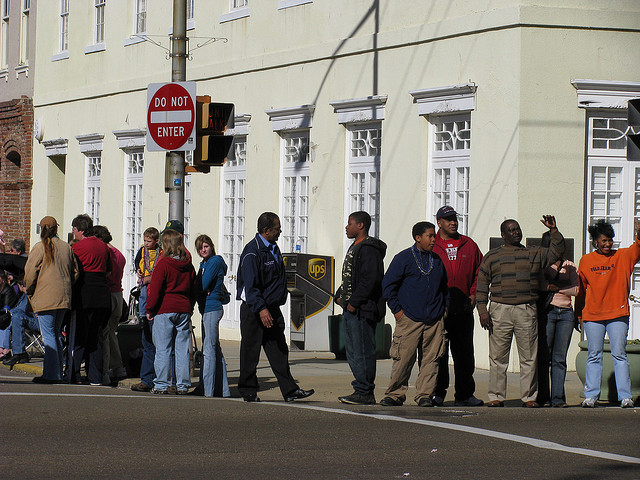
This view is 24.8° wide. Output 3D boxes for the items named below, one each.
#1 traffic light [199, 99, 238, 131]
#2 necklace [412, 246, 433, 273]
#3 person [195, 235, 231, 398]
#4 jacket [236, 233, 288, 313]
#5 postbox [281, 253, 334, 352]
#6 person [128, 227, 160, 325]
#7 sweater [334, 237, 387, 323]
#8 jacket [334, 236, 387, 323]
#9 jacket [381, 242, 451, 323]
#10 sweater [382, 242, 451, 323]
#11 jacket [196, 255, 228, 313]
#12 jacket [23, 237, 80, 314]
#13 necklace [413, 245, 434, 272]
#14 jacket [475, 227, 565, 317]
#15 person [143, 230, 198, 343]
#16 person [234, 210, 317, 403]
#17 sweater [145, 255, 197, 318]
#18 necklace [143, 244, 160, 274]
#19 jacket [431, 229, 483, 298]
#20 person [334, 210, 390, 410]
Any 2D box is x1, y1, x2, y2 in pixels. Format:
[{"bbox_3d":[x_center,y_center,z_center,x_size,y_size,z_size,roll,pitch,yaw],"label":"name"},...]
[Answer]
[{"bbox_3d":[-1.451,-1.777,20.523,0.467,0.487,0.196,0,5,-44],"label":"traffic light"},{"bbox_3d":[1.313,0.237,18.656,0.259,0.345,0.107,1,-4,0],"label":"necklace"},{"bbox_3d":[-1.428,0.998,19.536,0.505,2.215,0.454,2,-4,-5],"label":"person"},{"bbox_3d":[-0.756,0.441,18.800,0.510,1.107,0.549,0,5,-31],"label":"jacket"},{"bbox_3d":[-0.197,1.011,24.640,0.922,1.695,0.761,0,-5,17],"label":"postbox"},{"bbox_3d":[-2.504,0.487,20.866,0.430,1.404,0.412,-1,3,-25],"label":"person"},{"bbox_3d":[0.564,0.494,19.237,0.796,1.265,0.976,2,0,2],"label":"sweater"},{"bbox_3d":[0.543,0.484,18.849,0.460,1.092,0.498,-1,5,-28],"label":"jacket"},{"bbox_3d":[1.225,0.566,18.697,0.841,0.946,0.274,1,-5,5],"label":"jacket"},{"bbox_3d":[1.281,0.500,18.835,0.991,1.020,0.568,0,-2,-25],"label":"sweater"},{"bbox_3d":[-1.459,0.565,19.560,0.374,0.791,0.287,2,-5,-6],"label":"jacket"},{"bbox_3d":[-3.723,0.464,20.340,0.745,1.064,0.331,2,-5,-12],"label":"jacket"},{"bbox_3d":[1.314,0.216,18.636,0.202,0.325,0.018,-2,-5,0],"label":"necklace"},{"bbox_3d":[2.648,0.435,19.104,1.164,1.332,0.550,1,-5,-5],"label":"jacket"},{"bbox_3d":[-2.002,0.868,19.590,0.708,2.116,0.618,-1,10,-20],"label":"person"},{"bbox_3d":[-0.663,0.865,19.061,0.959,2.541,0.962,-3,6,-29],"label":"person"},{"bbox_3d":[-1.975,0.589,19.367,0.609,0.824,0.258,3,-5,-17],"label":"sweater"},{"bbox_3d":[-2.423,0.250,20.737,0.298,0.451,0.179,-1,-6,10],"label":"necklace"},{"bbox_3d":[1.812,0.376,19.222,0.696,0.919,0.484,-5,3,-2],"label":"jacket"},{"bbox_3d":[0.579,0.867,19.003,0.724,2.518,0.904,1,-5,-6],"label":"person"}]
